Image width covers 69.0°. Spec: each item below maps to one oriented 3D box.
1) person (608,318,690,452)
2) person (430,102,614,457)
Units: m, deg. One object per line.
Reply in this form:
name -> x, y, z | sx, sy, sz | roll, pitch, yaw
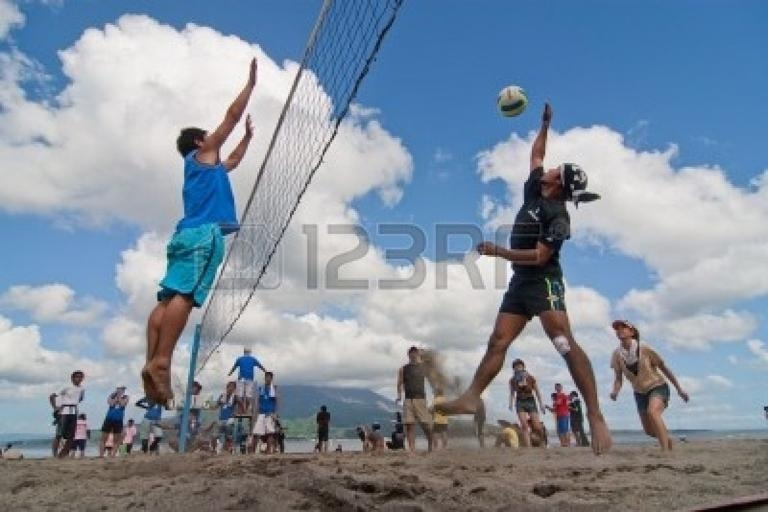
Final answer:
person -> 2.826, 1.381, 5.977 | 0.678, 1.321, 0.493 | -1, -20, -7
person -> 1.185, 0.375, 4.543 | 1.116, 2.376, 0.582 | -3, -20, -4
